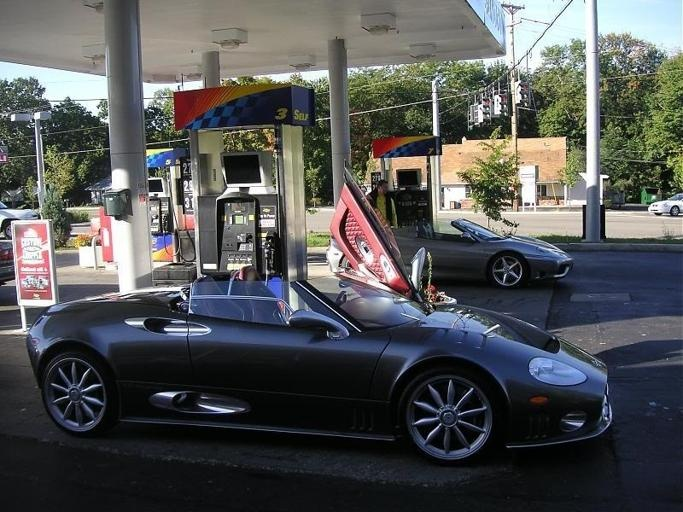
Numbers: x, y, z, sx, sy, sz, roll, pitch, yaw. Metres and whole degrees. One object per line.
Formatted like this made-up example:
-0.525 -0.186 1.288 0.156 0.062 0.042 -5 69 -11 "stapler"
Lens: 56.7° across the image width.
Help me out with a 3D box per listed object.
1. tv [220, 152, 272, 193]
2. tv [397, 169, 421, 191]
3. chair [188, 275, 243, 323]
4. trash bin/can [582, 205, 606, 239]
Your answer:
-1.596 -1.408 10.662 0.680 0.806 0.644 2 10 13 "tv"
2.028 -2.330 19.359 0.697 0.467 0.698 7 12 38 "tv"
-1.138 0.388 5.869 0.428 0.396 0.404 6 13 14 "chair"
8.367 -1.141 20.923 0.705 1.126 1.857 2 8 22 "trash bin/can"
